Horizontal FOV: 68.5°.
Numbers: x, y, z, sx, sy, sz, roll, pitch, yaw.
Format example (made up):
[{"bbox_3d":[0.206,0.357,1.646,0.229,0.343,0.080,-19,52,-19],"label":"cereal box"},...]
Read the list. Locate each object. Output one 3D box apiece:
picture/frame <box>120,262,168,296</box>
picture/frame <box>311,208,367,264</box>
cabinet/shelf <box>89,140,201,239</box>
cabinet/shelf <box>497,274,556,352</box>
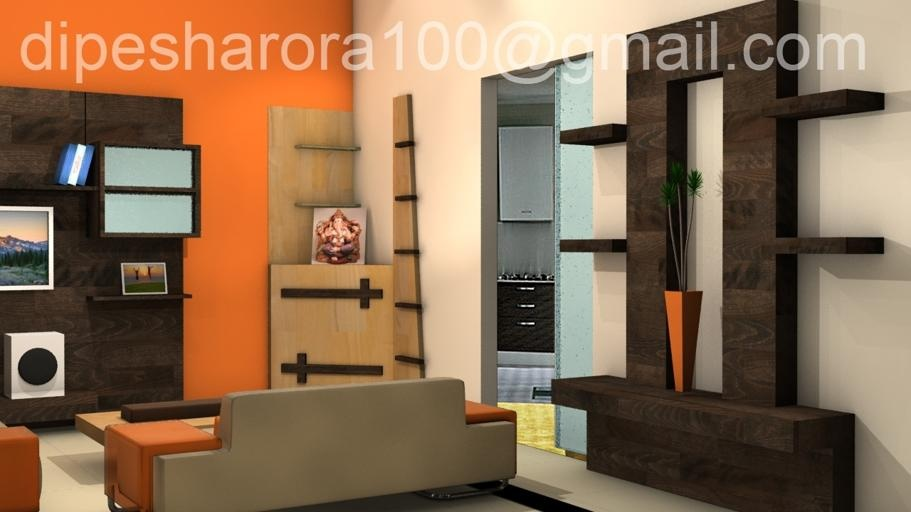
[{"bbox_3d":[-3.541,0.269,7.546,0.453,0.311,0.046,0,-1,-20],"label":"picture/frame"},{"bbox_3d":[-1.448,-0.235,8.286,0.862,0.819,0.041,0,-1,10],"label":"picture/frame"},{"bbox_3d":[-3.494,-0.732,7.419,1.335,1.041,0.400,0,-1,-30],"label":"cabinet/shelf"},{"bbox_3d":[0.909,0.799,8.701,0.717,0.965,0.382,-2,3,3],"label":"cabinet/shelf"}]
